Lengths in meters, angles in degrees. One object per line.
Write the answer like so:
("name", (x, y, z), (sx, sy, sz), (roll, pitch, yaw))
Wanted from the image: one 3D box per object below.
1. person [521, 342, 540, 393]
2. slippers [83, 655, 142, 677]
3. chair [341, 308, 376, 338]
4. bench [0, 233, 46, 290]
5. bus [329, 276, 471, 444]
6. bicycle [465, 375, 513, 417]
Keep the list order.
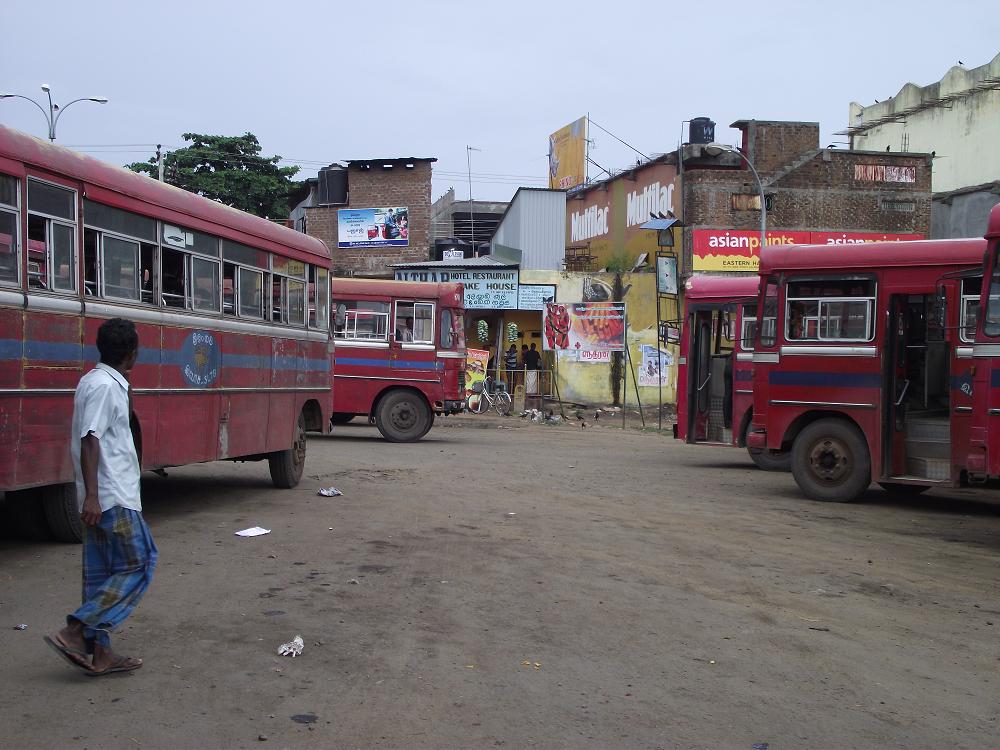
("person", (1.070, -0.175, 29.745), (0.481, 1.636, 0.737), (-1, 1, 6))
("slippers", (-2.420, 1.788, 5.602), (0.313, 0.142, 0.125), (-2, 4, -28))
("chair", (-2.983, -1.139, 19.558), (0.613, 0.489, 0.671), (3, 4, 6))
("bench", (-4.103, -0.998, 7.750), (0.074, 0.373, 0.559), (-1, 1, 16))
("bus", (-2.168, -0.444, 20.553), (3.584, 2.656, 2.264), (0, -1, 4))
("bicycle", (-0.352, 0.695, 28.836), (1.596, 1.185, 0.766), (-1, -3, -5))
